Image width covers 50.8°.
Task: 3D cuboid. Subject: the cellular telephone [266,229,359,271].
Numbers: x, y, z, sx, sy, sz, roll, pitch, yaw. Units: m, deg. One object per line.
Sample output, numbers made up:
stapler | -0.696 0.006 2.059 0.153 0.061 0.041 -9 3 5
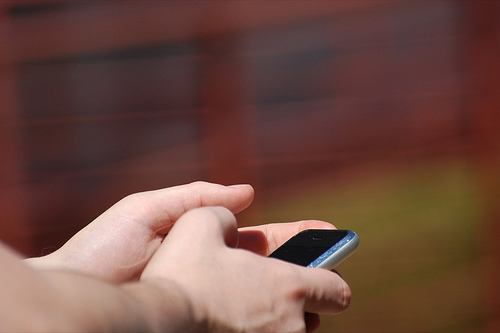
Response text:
cellular telephone | 0.108 0.134 0.876 0.129 0.018 0.072 -18 19 -1
